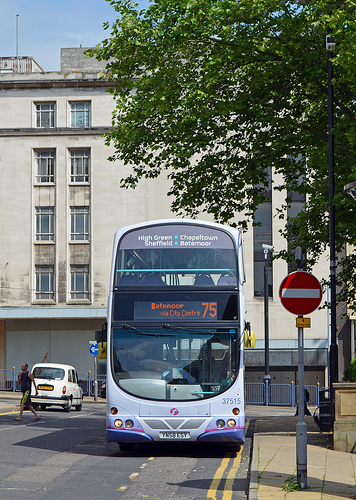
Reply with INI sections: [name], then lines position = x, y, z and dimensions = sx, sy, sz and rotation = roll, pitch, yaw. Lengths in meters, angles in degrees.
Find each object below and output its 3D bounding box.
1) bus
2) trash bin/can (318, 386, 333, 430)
[bus]
position = -0.096, 1.626, 19.336
dimensions = 1.762, 3.248, 4.896
rotation = -1, -10, 4
[trash bin/can]
position = 2.826, 3.090, 20.641
dimensions = 0.304, 0.741, 0.873
rotation = 1, 10, 7
